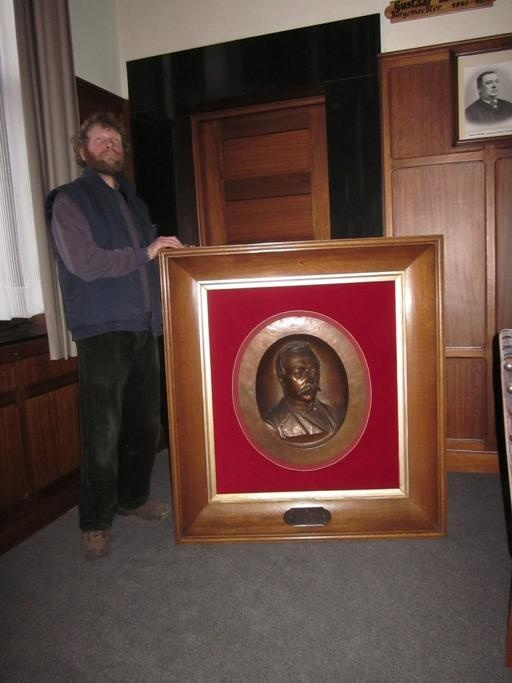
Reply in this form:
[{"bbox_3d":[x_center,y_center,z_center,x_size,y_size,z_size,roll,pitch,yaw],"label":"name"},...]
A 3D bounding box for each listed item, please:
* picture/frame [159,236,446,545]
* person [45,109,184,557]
[{"bbox_3d":[0.144,0.137,1.525,0.749,0.900,0.093,-1,2,7],"label":"picture/frame"},{"bbox_3d":[-0.550,-0.035,2.072,0.382,1.626,0.425,-4,8,-12],"label":"person"}]
